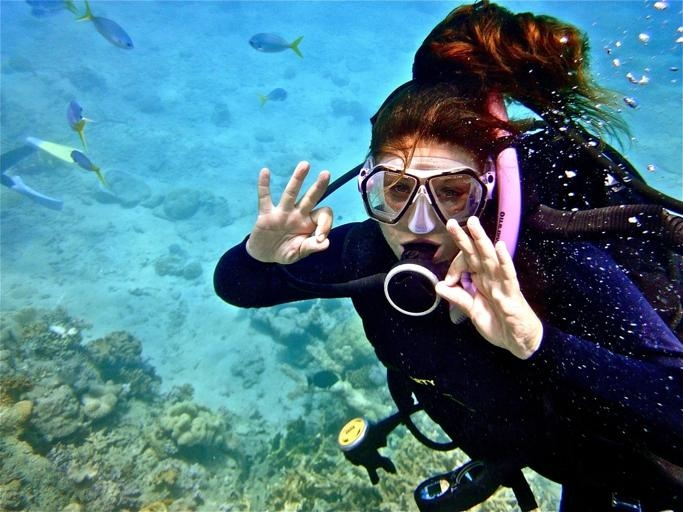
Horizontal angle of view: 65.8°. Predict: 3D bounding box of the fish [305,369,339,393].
[{"bbox_3d":[-0.705,3.499,14.996,0.901,0.105,0.500,-12,73,25],"label":"fish"}]
